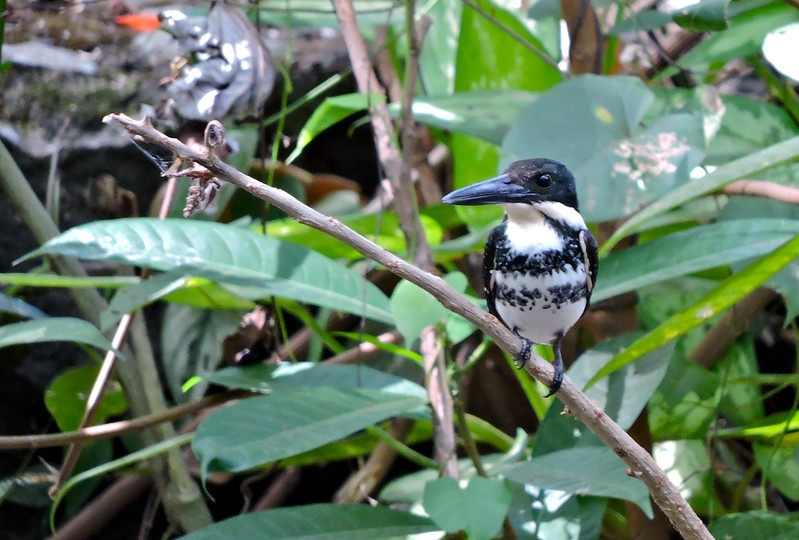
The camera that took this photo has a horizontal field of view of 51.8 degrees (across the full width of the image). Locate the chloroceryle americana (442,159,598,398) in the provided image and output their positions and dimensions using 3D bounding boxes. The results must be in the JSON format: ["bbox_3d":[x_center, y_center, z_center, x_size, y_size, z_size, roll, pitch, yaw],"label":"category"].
[{"bbox_3d":[0.310,-0.001,1.867,0.245,0.478,0.512,-1,9,17],"label":"chloroceryle americana"}]
